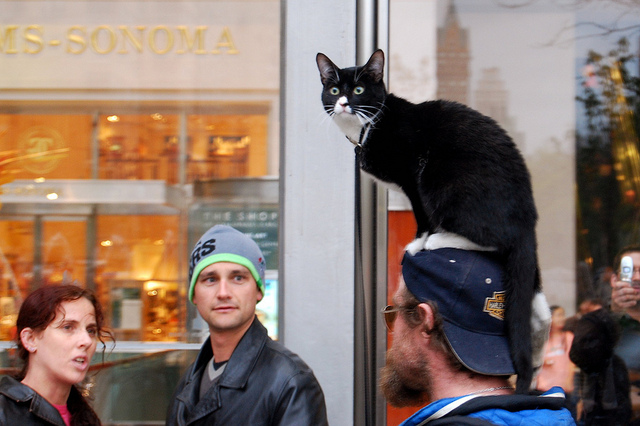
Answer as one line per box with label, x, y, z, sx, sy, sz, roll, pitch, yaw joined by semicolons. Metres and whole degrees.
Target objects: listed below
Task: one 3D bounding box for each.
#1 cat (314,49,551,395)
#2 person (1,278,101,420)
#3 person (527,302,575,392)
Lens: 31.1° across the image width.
cat;0.934;0.016;9.084;1.511;2.186;0.630;-5;-2;43
person;-2.207;1.184;9.574;0.686;1.033;1.071;-13;-17;30
person;2.115;1.088;10.536;0.368;0.286;1.050;-1;30;20
